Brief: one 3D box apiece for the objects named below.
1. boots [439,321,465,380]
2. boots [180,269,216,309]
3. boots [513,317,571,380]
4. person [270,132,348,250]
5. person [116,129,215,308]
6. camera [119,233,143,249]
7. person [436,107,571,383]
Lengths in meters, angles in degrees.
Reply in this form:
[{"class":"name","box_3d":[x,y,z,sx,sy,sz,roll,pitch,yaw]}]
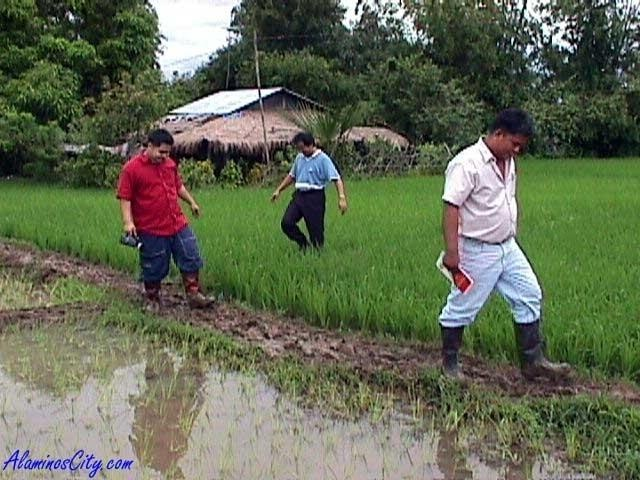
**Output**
[{"class":"boots","box_3d":[1.427,1.204,7.448,0.333,0.646,0.156,7,24,19]},{"class":"boots","box_3d":[-1.663,0.648,9.542,0.360,0.512,0.215,-5,17,-2]},{"class":"boots","box_3d":[2.402,1.165,7.552,0.538,0.816,0.353,-7,-18,22]},{"class":"person","box_3d":[-0.214,-0.639,11.068,0.978,2.244,0.564,3,21,2]},{"class":"person","box_3d":[-2.084,-0.244,9.188,1.056,2.404,0.508,-3,10,-20]},{"class":"camera","box_3d":[-2.517,0.018,9.384,0.170,0.225,0.124,2,26,-5]},{"class":"person","box_3d":[1.856,-0.024,7.351,1.077,3.056,1.098,-6,22,3]}]
